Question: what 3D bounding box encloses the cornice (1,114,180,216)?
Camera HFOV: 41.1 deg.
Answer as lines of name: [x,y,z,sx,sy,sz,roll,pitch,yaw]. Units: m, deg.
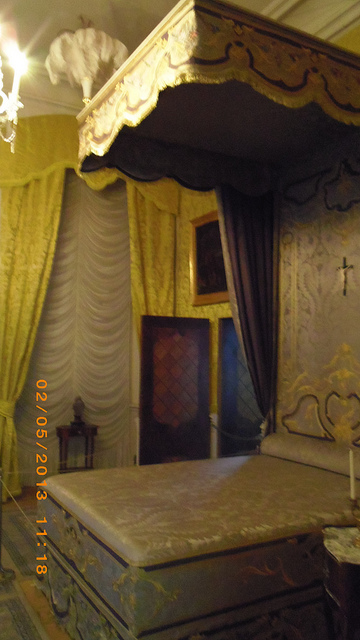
cornice: [-0.872,-1.339,4.128,1.197,0.322,1.093,-2,11,-37]
